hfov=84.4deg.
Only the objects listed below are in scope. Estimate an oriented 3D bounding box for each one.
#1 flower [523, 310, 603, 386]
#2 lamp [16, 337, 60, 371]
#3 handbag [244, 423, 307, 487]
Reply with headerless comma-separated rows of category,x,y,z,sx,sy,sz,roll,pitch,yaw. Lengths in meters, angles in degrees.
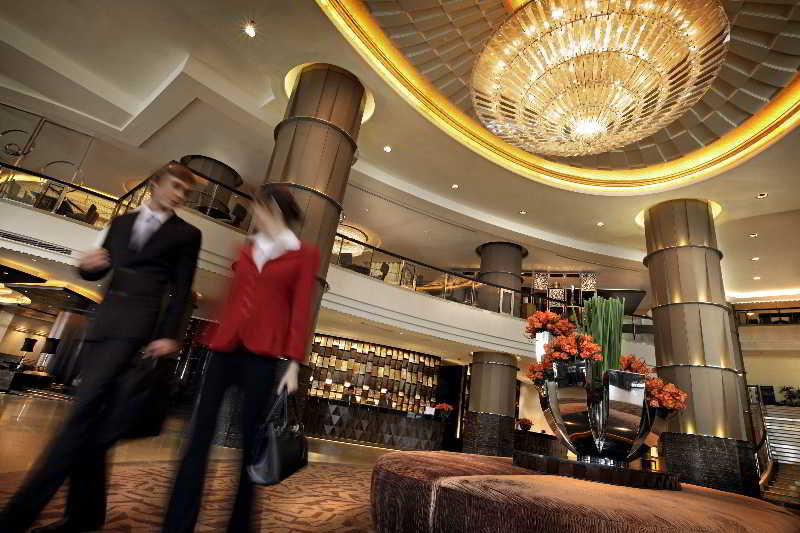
flower,1.421,0.713,4.004,0.647,0.421,0.623,2,-7,-14
lamp,-10.047,2.448,12.242,1.098,0.895,0.297,12,20,-18
handbag,-0.750,1.154,2.731,0.338,0.383,0.141,11,-16,-14
